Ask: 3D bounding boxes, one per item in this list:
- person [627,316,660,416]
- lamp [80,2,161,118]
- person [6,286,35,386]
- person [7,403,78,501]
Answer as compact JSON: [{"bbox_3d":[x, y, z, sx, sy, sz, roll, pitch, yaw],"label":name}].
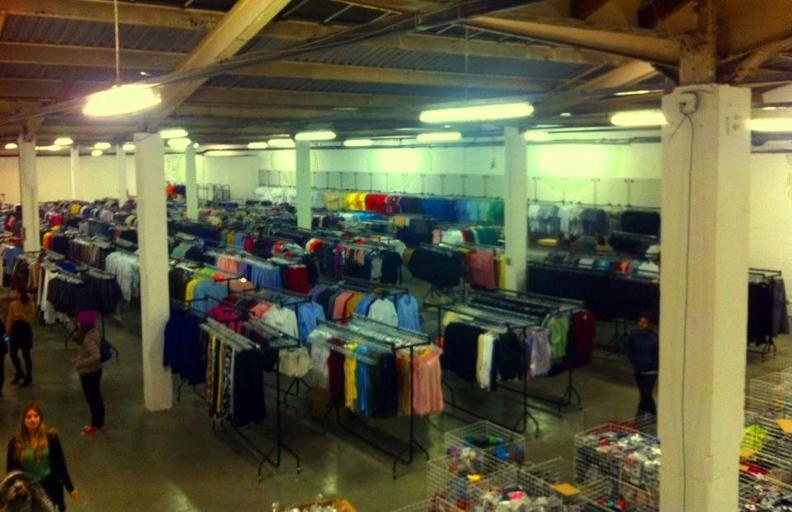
[{"bbox_3d":[3.677,1.677,8.911,0.472,1.578,0.979,6,15,23],"label":"person"},{"bbox_3d":[-3.169,-2.277,6.694,0.671,1.307,2.874,-7,16,-25],"label":"lamp"},{"bbox_3d":[-6.828,1.419,10.913,0.512,1.759,0.835,-9,17,-31],"label":"person"},{"bbox_3d":[-3.768,2.223,6.314,0.324,1.410,0.529,11,18,39],"label":"person"}]
